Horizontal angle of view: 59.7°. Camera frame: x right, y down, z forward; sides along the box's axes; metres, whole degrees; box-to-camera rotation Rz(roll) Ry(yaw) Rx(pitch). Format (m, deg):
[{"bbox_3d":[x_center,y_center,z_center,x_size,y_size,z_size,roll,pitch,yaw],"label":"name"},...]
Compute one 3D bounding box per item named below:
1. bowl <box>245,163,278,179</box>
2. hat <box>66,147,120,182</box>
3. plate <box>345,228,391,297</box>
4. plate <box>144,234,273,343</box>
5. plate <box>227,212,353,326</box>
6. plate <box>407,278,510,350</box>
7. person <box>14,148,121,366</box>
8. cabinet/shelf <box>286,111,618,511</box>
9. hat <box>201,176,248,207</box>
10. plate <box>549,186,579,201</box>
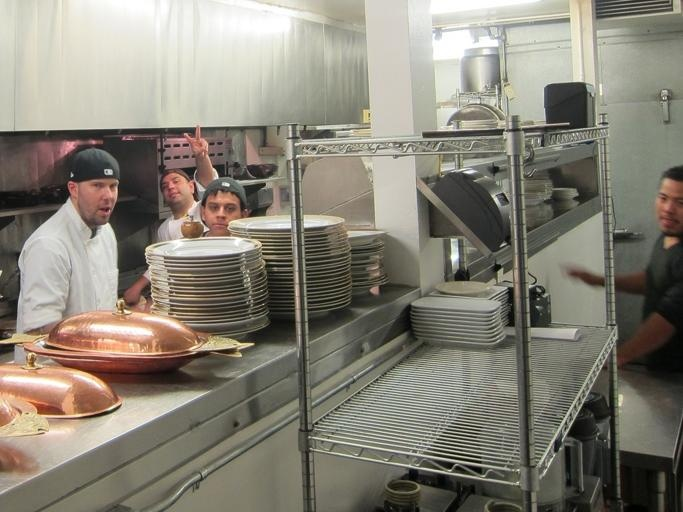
[{"bbox_3d":[-0.608,-0.658,4.592,0.070,0.115,0.301,4,13,33],"label":"bowl"},{"bbox_3d":[-1.406,-0.513,3.380,0.213,0.143,0.216,-2,9,-2],"label":"hat"},{"bbox_3d":[0.075,0.021,1.816,0.189,0.169,0.181,-4,3,-10],"label":"plate"},{"bbox_3d":[-0.324,0.066,1.490,0.274,0.155,0.266,-1,10,-7],"label":"plate"},{"bbox_3d":[-0.157,0.017,1.650,0.311,0.198,0.309,1,9,21],"label":"plate"},{"bbox_3d":[0.347,0.187,1.839,0.211,0.097,0.282,1,7,16],"label":"plate"},{"bbox_3d":[-1.514,-0.108,3.272,0.261,0.931,0.687,0,11,18],"label":"person"},{"bbox_3d":[0.335,0.186,1.575,0.573,1.072,0.953,4,13,33],"label":"cabinet/shelf"},{"bbox_3d":[-0.813,-0.432,4.178,0.236,0.159,0.228,-1,-2,-7],"label":"hat"},{"bbox_3d":[1.386,-0.384,3.689,0.135,0.049,0.134,0,10,19],"label":"plate"}]
